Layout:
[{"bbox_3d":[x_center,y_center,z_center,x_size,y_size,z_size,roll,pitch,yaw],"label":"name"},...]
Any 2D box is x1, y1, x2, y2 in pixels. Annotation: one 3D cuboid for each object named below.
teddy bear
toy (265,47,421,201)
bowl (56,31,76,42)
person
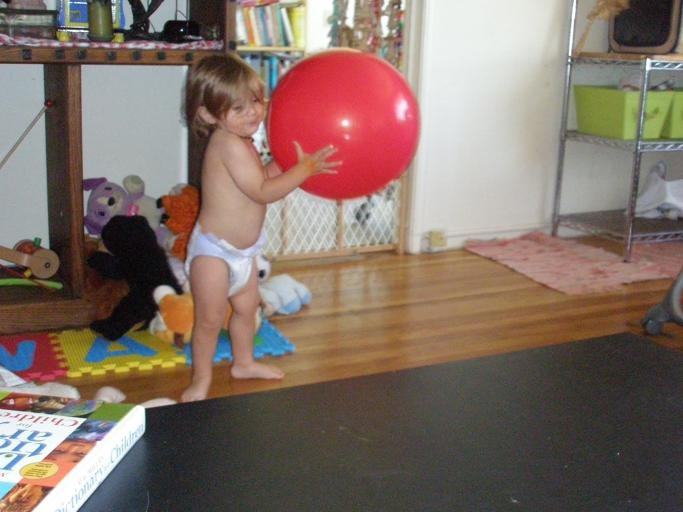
[{"bbox_3d":[-0.781,0.086,2.420,0.764,0.386,0.589,24,67,18],"label":"teddy bear"},{"bbox_3d":[0.019,-0.243,1.264,0.361,0.311,0.319,0,-2,3],"label":"toy"},{"bbox_3d":[-1.014,-0.806,2.062,0.057,0.049,0.175,-9,19,-22],"label":"bowl"},{"bbox_3d":[-0.244,-0.078,1.787,0.523,1.037,0.406,-3,14,-19],"label":"person"}]
